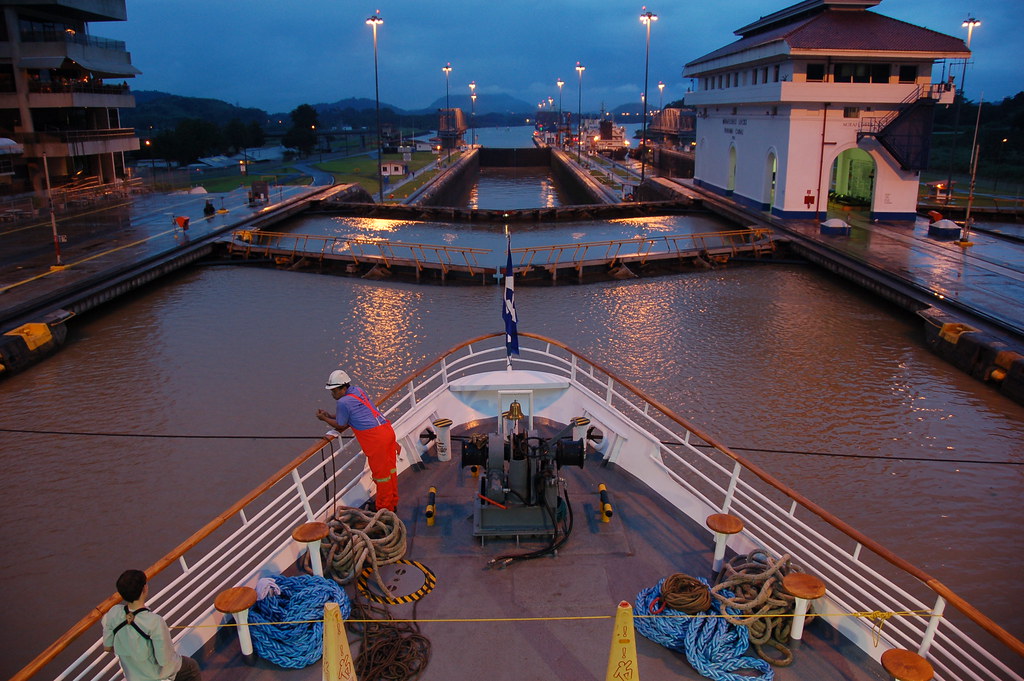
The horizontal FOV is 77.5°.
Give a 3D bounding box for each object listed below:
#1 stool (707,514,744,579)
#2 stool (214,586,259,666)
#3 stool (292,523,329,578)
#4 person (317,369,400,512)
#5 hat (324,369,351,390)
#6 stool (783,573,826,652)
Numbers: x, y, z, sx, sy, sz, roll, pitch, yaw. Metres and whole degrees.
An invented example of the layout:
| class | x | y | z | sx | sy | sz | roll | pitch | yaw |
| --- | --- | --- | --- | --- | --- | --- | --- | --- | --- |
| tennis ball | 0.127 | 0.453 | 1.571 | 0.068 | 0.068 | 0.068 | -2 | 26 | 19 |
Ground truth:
| class | x | y | z | sx | sy | sz | roll | pitch | yaw |
| --- | --- | --- | --- | --- | --- | --- | --- | --- | --- |
| stool | 3.423 | 3.247 | 10.226 | 0.558 | 1.037 | 0.953 | 4 | 21 | 19 |
| stool | -3.807 | 4.136 | 9.099 | 0.540 | 0.782 | 0.523 | -15 | 1 | -43 |
| stool | -3.153 | 3.235 | 10.046 | 0.533 | 0.900 | 0.677 | -11 | 21 | -19 |
| person | -2.468 | 1.866 | 11.002 | 1.152 | 2.796 | 0.939 | 10 | 24 | 32 |
| hat | -2.983 | 0.667 | 10.873 | 0.340 | 0.404 | 0.552 | -7 | 20 | -9 |
| stool | 4.121 | 3.849 | 9.063 | 0.606 | 0.864 | 0.594 | 11 | 15 | 32 |
